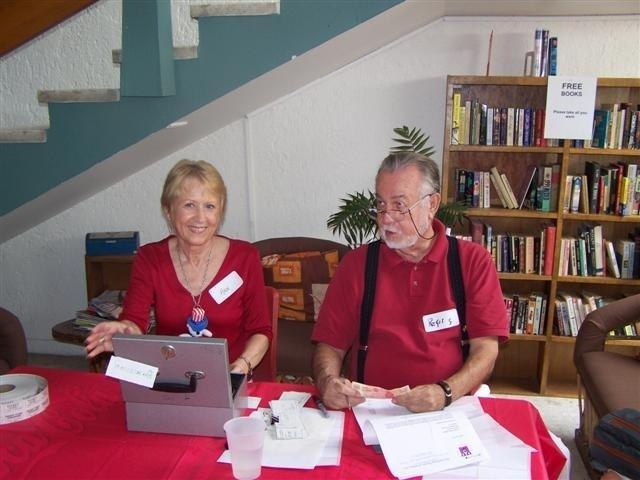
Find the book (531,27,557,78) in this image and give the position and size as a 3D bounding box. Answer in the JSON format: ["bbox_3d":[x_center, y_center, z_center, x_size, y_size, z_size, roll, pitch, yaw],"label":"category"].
[{"bbox_3d":[1.509,-1.240,3.149,0.147,0.307,0.144,1,9,18],"label":"book"}]

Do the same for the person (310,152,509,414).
[{"bbox_3d":[0.365,0.249,2.012,0.834,1.202,0.765,-1,0,18],"label":"person"}]

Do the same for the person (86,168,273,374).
[{"bbox_3d":[-0.546,0.134,2.131,0.623,0.993,0.494,0,8,10],"label":"person"}]

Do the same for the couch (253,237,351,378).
[{"bbox_3d":[-0.123,0.437,3.400,0.808,0.927,0.815,0,-3,3],"label":"couch"}]

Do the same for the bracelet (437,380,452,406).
[{"bbox_3d":[0.446,0.542,1.656,0.044,0.073,0.071,-5,11,-19],"label":"bracelet"}]

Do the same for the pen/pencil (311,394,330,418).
[{"bbox_3d":[0.003,0.585,1.652,0.022,0.019,0.122,-13,13,-8],"label":"pen/pencil"}]
